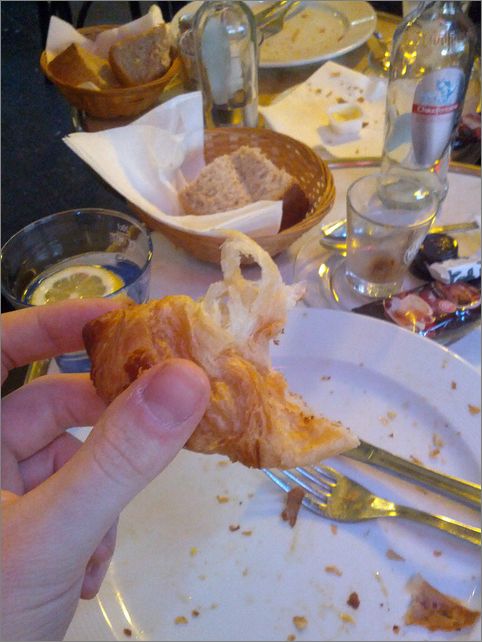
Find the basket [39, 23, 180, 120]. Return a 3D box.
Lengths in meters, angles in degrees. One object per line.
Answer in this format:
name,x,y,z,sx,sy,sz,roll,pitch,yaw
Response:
basket,-0.410,-0.669,1.683,0.285,0.114,0.280,31,63,16

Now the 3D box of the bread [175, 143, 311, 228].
bread,0.015,-0.285,1.255,0.229,0.073,0.222,-34,65,-20

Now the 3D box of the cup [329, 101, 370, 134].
cup,0.304,-0.597,1.668,0.107,0.054,0.127,-15,51,-3
